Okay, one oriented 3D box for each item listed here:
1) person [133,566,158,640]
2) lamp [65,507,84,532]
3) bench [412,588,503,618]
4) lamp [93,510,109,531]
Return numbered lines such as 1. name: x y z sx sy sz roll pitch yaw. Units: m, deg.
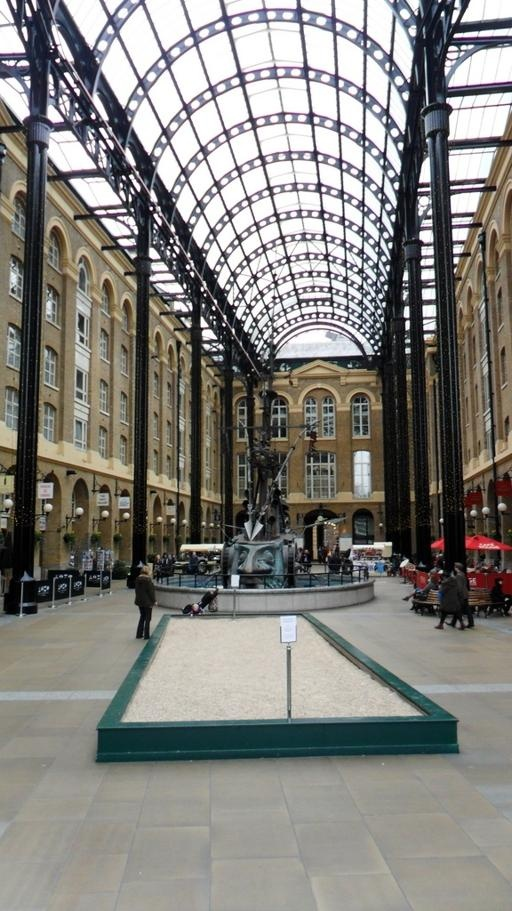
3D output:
1. person: -2.636 3.440 13.881 0.417 1.654 2.211 1 -7 -11
2. lamp: -9.884 3.461 32.187 0.878 1.533 4.405 1 -7 -16
3. bench: 6.257 4.681 18.632 2.518 0.904 2.346 -3 -7 20
4. lamp: -9.526 4.026 36.513 0.786 1.335 1.645 1 -7 -11
